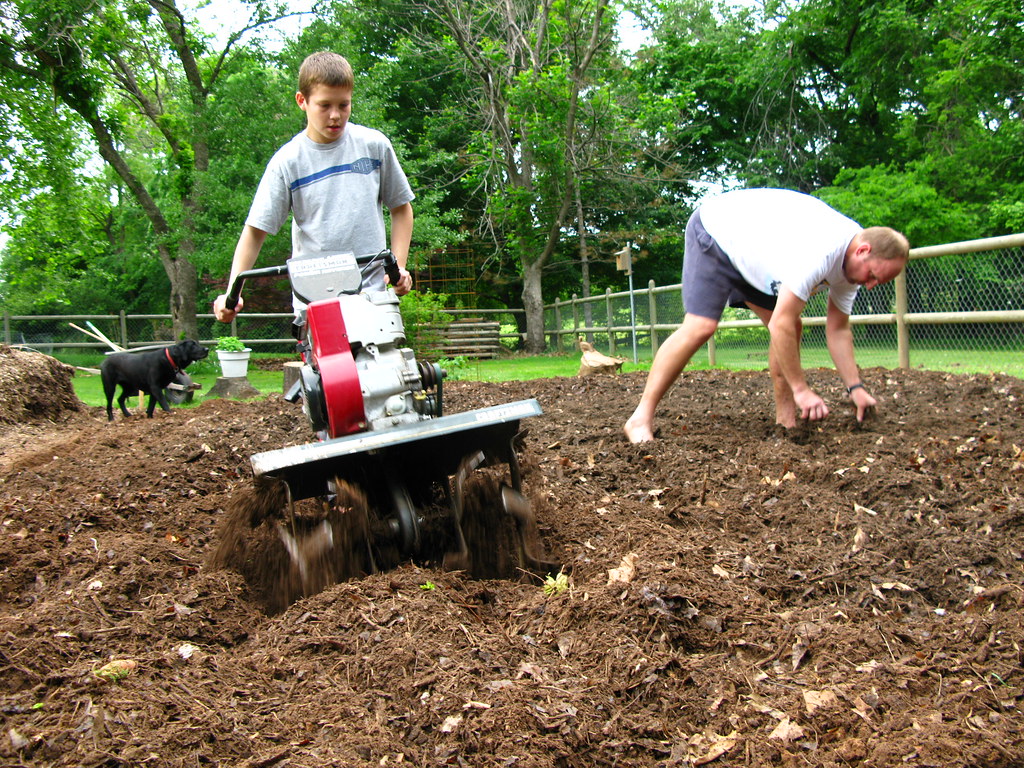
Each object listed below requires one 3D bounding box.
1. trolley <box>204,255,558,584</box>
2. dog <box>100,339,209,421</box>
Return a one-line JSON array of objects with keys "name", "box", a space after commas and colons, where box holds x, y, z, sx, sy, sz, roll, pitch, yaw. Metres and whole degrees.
[{"name": "trolley", "box": [-0.798, 0.096, 5.088, 1.274, 1.616, 1.660, -18, 19, -29]}, {"name": "dog", "box": [-3.667, -0.016, 9.468, 1.237, 0.743, 0.346, -1, -3, 14]}]
